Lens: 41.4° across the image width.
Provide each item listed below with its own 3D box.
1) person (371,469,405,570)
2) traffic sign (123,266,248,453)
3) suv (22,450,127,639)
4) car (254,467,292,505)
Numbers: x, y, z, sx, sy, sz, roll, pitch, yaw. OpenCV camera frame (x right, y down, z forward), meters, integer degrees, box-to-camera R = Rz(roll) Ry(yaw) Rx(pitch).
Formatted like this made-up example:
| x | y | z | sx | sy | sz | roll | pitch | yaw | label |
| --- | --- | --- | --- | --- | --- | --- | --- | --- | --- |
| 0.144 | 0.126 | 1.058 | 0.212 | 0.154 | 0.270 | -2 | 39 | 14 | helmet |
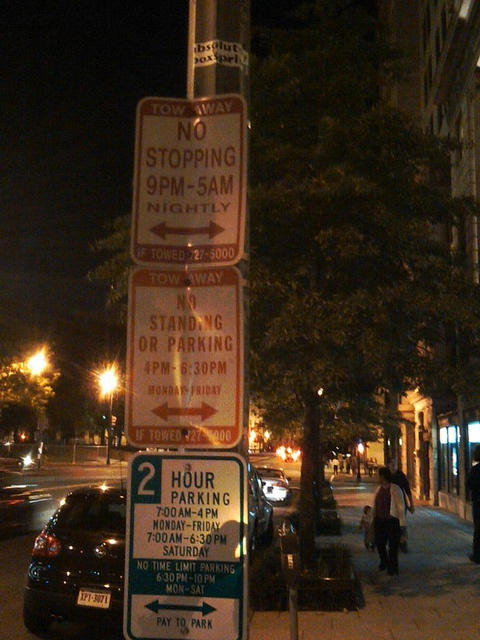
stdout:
| x | y | z | sx | sy | sz | roll | pitch | yaw | label |
| --- | --- | --- | --- | --- | --- | --- | --- | --- | --- |
| 2.590 | 3.393 | 10.950 | 0.535 | 1.746 | 0.949 | 0 | -11 | -3 | person |
| -0.199 | 0.166 | 2.472 | 0.461 | 1.134 | 0.045 | -3 | -17 | 11 | traffic sign |
| -1.710 | 2.597 | 7.309 | 0.964 | 1.419 | 2.289 | 1 | -15 | 1 | suv |
| 1.580 | 7.721 | 28.392 | 1.403 | 1.599 | 3.802 | 0 | -3 | 4 | car |
